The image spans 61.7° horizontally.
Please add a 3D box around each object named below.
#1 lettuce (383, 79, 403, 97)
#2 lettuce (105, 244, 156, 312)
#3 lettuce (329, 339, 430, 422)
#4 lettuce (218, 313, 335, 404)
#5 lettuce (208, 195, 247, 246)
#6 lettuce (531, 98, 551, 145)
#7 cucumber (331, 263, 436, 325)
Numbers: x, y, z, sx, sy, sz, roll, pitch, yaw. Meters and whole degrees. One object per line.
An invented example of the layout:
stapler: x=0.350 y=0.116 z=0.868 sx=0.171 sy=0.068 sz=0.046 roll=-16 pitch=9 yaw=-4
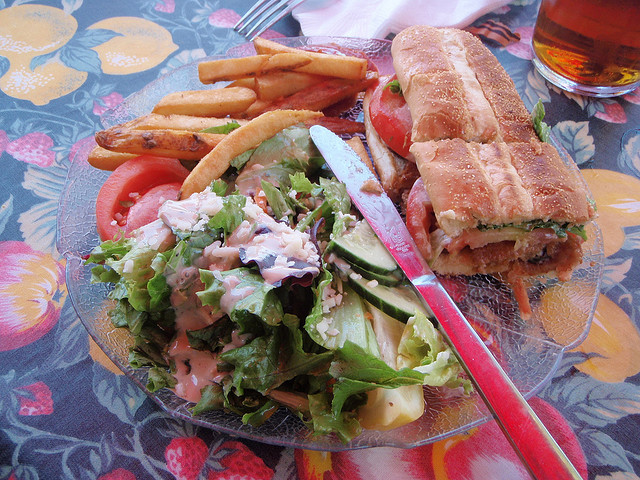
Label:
lettuce: x=0.406 y=-0.821 z=2.879 sx=0.076 sy=0.030 sz=0.081 roll=2 pitch=73 yaw=-10
lettuce: x=-0.797 y=0.144 z=2.241 sx=0.204 sy=0.108 sz=0.295 roll=-3 pitch=73 yaw=1
lettuce: x=0.176 y=0.580 z=2.041 sx=0.295 sy=0.426 sz=0.164 roll=-34 pitch=84 yaw=-30
lettuce: x=-0.180 y=0.468 z=2.137 sx=0.373 sy=0.132 sz=0.349 roll=-18 pitch=50 yaw=-39
lettuce: x=-0.380 y=-0.104 z=2.265 sx=0.108 sy=0.069 sz=0.212 roll=35 pitch=77 yaw=12
lettuce: x=1.114 y=-0.585 z=2.710 sx=0.065 sy=0.034 sz=0.253 roll=-1 pitch=93 yaw=12
cucumber: x=0.298 y=0.207 z=2.318 sx=0.190 sy=0.034 sz=0.288 roll=36 pitch=47 yaw=9
